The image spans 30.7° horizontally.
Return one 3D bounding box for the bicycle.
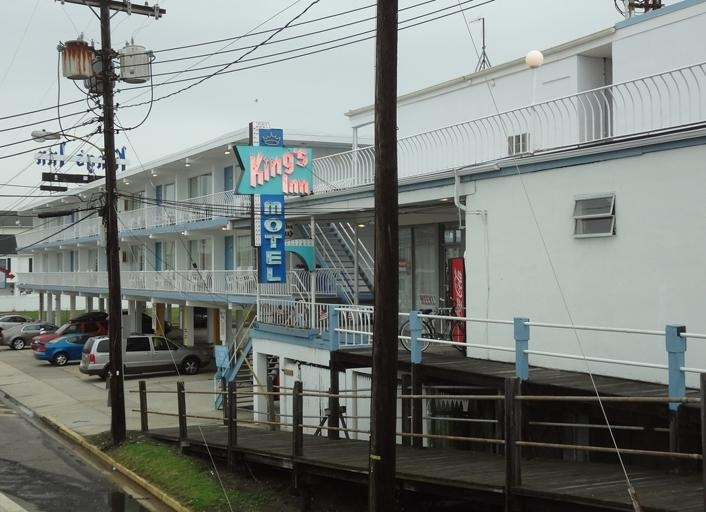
[{"bbox_3d":[2.411,1.954,34.774,2.078,1.256,0.938,2,-19,-6],"label":"bicycle"}]
